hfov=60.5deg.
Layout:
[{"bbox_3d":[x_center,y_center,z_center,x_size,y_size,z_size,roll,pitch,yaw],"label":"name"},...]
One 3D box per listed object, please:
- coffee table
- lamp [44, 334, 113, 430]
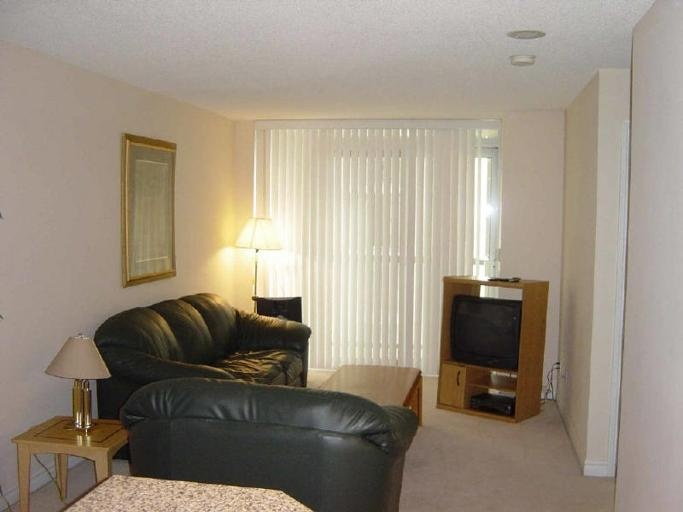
[{"bbox_3d":[0.274,1.055,4.823,0.546,0.392,0.837,0,1,11],"label":"coffee table"},{"bbox_3d":[-1.677,0.813,3.737,0.394,0.625,0.387,1,1,-8],"label":"lamp"}]
